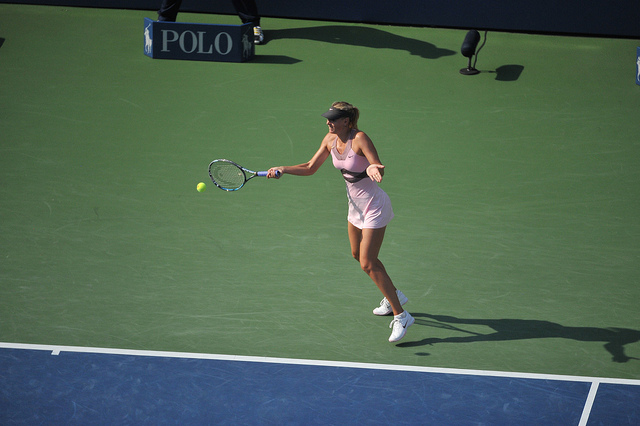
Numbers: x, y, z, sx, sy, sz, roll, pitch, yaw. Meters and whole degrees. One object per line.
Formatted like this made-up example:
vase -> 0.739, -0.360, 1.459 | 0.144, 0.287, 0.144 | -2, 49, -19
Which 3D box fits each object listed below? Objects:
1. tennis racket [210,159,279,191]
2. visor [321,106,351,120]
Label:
tennis racket -> -1.019, -0.522, 9.769 | 0.091, 0.460, 1.264 | -28, -17, 40
visor -> 0.189, -1.198, 8.537 | 0.281, 0.081, 0.164 | 1, 4, -29
